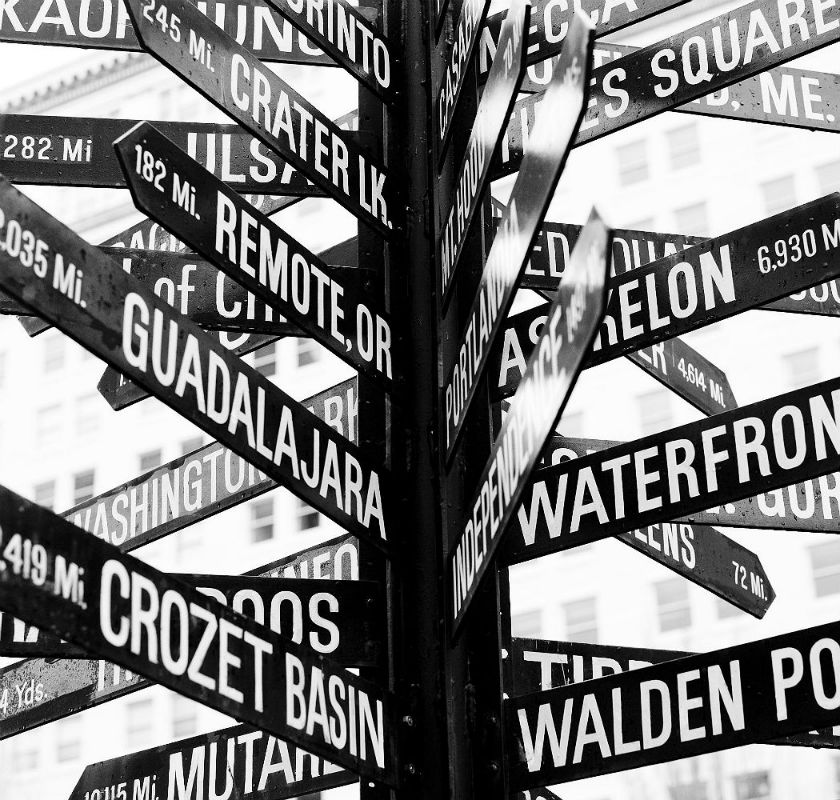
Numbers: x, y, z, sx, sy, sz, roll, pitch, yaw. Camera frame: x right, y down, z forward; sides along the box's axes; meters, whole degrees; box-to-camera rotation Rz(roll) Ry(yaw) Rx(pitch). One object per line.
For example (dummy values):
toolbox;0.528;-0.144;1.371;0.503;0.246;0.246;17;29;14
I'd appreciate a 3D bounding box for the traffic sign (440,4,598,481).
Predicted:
traffic sign;0.321;-0.559;6.273;0.023;0.435;2.162;3;-54;-12
